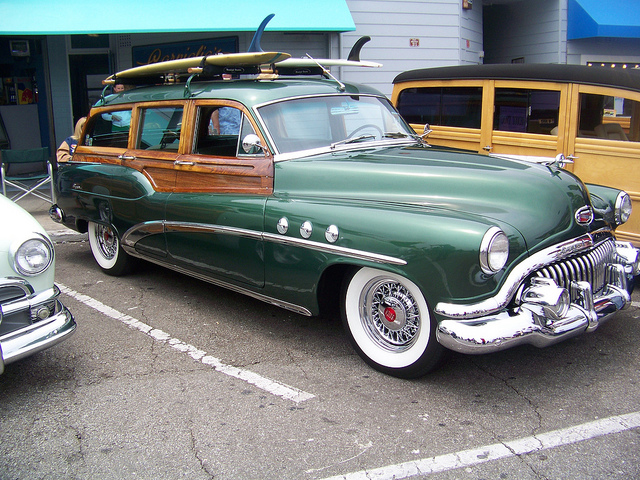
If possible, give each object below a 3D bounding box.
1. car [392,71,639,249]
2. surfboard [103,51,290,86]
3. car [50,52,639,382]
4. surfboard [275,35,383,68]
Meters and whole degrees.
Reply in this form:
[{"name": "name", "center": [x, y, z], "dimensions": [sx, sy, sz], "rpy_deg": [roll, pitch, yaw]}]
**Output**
[{"name": "car", "center": [2.129, -0.845, 4.635], "dimensions": [3.024, 1.198, 1.073], "rpy_deg": [11, 18, 43]}, {"name": "surfboard", "center": [-1.450, -1.928, 5.216], "dimensions": [2.396, 0.261, 0.611], "rpy_deg": [10, 19, 35]}, {"name": "car", "center": [-0.867, -0.609, 5.103], "dimensions": [7.071, 1.926, 2.963], "rpy_deg": [8, 21, 31]}, {"name": "surfboard", "center": [-0.002, -2.237, 5.526], "dimensions": [1.617, 0.343, 0.309], "rpy_deg": [-14, 29, -30]}]
